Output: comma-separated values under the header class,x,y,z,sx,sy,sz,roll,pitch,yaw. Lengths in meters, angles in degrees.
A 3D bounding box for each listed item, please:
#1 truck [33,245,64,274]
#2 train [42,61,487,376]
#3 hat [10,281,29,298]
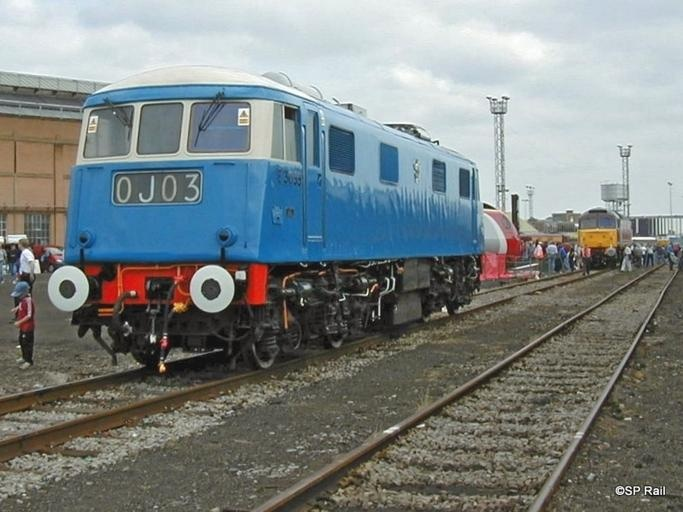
class,x,y,z,sx,sy,sz,roll,pitch,yaw
truck,-16.203,0.266,32.463,1.601,1.453,2.945,0,-2,-13
train,-0.153,-0.377,14.357,3.755,5.098,13.608,-1,-1,25
hat,-5.490,0.606,10.080,0.205,0.247,0.415,-2,1,-42
